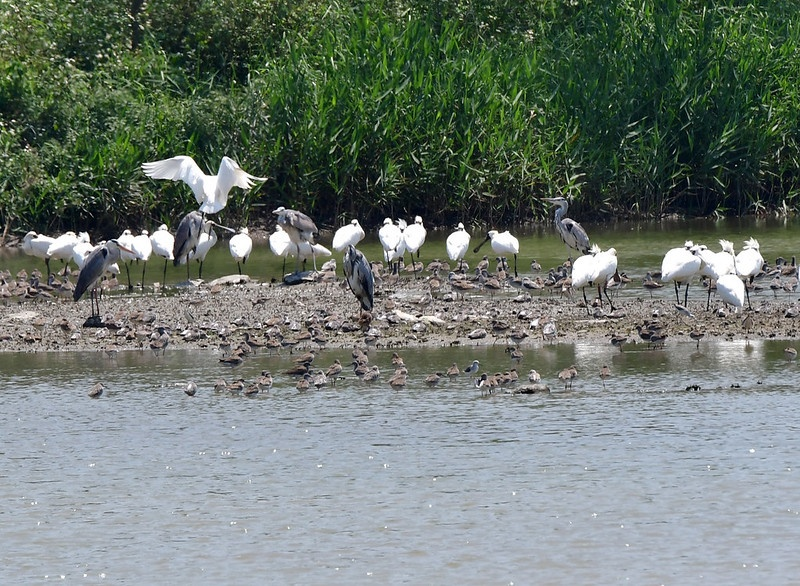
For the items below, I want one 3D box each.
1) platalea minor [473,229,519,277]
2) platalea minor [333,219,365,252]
[{"bbox_3d":[2.324,-0.994,31.557,1.328,0.950,0.504,-3,8,28],"label":"platalea minor"},{"bbox_3d":[-1.230,-1.287,30.910,0.509,0.622,0.963,19,45,20],"label":"platalea minor"}]
